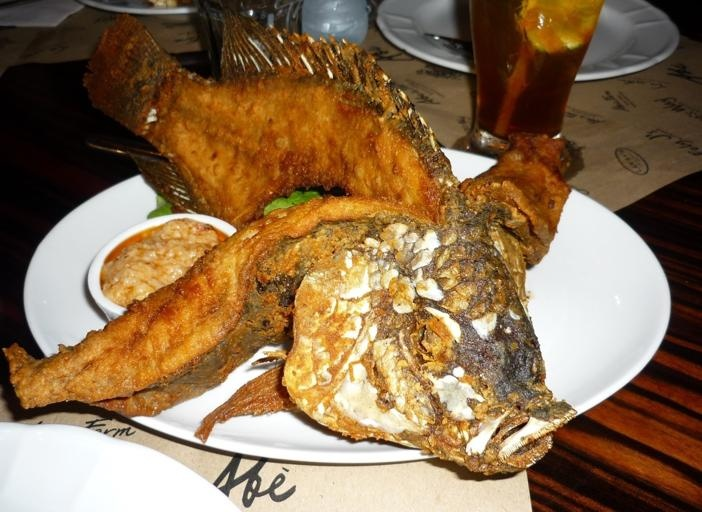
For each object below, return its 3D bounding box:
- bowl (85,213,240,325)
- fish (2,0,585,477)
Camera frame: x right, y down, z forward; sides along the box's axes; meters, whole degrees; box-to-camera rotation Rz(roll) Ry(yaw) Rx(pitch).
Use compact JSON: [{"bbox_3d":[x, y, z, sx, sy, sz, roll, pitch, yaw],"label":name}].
[{"bbox_3d":[-0.508,0.105,1.881,0.446,0.443,0.158,-21,76,-10],"label":"bowl"},{"bbox_3d":[-0.086,-0.002,1.744,1.278,0.446,1.224,0,34,-15],"label":"fish"}]
